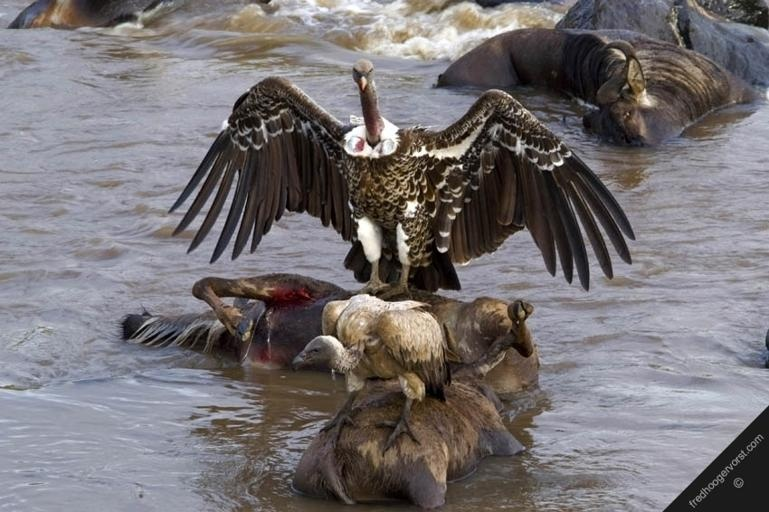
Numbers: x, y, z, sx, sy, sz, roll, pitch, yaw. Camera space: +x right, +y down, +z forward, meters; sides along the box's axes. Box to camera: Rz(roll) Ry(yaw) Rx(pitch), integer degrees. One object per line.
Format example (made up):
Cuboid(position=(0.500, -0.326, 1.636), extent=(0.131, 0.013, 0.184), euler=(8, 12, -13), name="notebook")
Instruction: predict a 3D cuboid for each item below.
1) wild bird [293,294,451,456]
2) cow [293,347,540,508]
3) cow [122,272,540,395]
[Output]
Cuboid(position=(-0.053, 0.892, 10.564), extent=(1.679, 0.995, 1.145), euler=(-18, 23, -40), name="wild bird")
Cuboid(position=(0.238, 1.553, 10.707), extent=(1.709, 0.558, 1.050), euler=(-22, 19, -32), name="cow")
Cuboid(position=(-0.610, 0.657, 12.026), extent=(4.014, 1.296, 0.871), euler=(-3, 69, 6), name="cow")
